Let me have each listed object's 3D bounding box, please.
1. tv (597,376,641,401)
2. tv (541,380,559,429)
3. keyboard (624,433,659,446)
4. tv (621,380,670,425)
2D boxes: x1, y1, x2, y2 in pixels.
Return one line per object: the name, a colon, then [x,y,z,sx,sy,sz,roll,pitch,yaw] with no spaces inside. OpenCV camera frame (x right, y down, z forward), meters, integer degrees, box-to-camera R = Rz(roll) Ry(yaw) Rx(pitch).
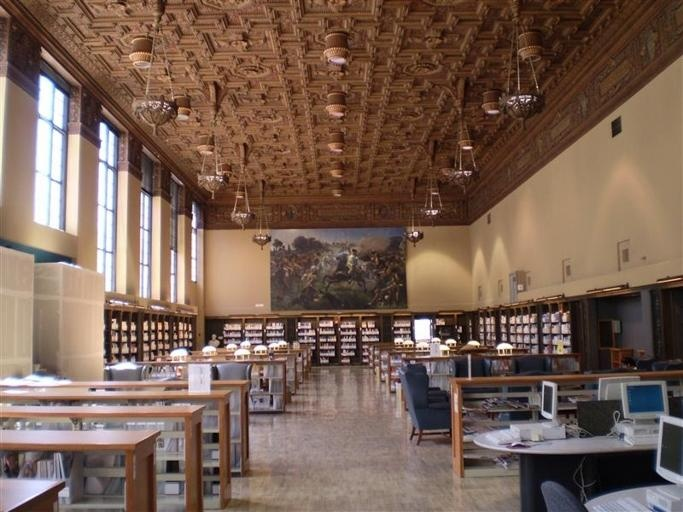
tv: [3.070,1.467,6.155,0.336,0.352,0.176,1,-6,-1]
tv: [2.369,1.676,6.339,0.174,0.415,0.537,-6,1,17]
keyboard: [3.110,1.889,5.773,0.312,0.095,0.169,-7,0,20]
tv: [3.211,1.553,5.889,0.463,0.437,0.244,-1,-3,0]
